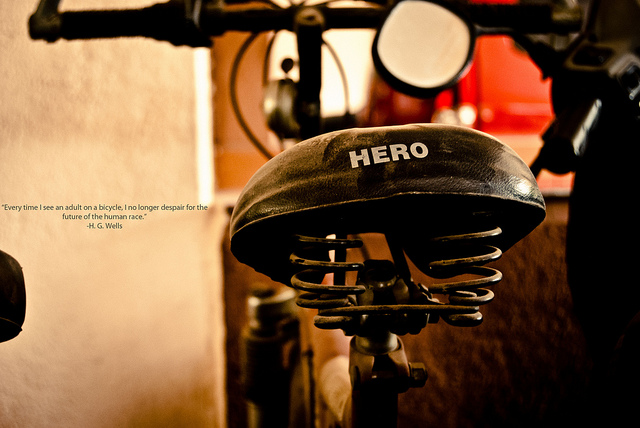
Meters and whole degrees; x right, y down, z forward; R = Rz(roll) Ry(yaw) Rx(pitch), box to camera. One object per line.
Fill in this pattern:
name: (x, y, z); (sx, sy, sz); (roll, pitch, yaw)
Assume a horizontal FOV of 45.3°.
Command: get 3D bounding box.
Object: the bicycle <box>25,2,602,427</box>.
bicycle: (0.020, -0.099, 1.762); (0.895, 1.145, 0.873); (14, -15, -40)
